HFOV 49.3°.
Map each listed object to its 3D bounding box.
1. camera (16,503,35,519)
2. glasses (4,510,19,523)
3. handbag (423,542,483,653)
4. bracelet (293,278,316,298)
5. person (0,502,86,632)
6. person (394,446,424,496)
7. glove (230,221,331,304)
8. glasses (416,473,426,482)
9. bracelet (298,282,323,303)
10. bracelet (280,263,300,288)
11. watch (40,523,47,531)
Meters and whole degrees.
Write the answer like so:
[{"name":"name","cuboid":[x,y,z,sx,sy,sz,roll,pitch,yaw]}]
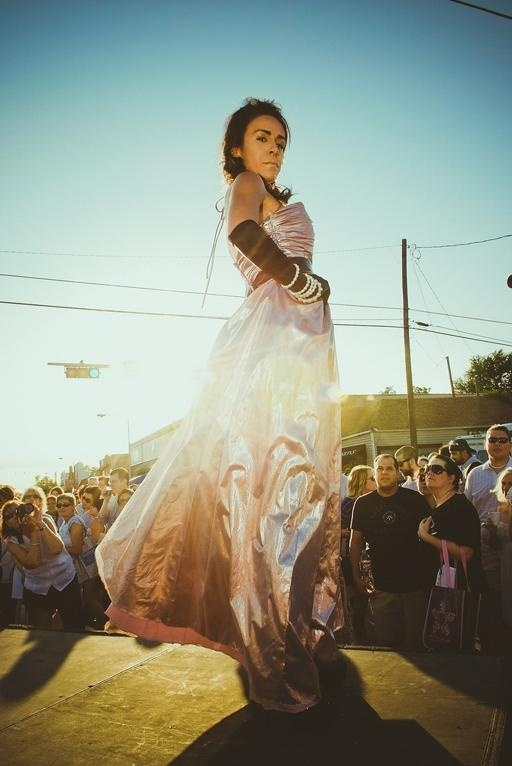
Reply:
[{"name":"camera","cuboid":[-1.821,1.011,4.380,0.114,0.119,0.035,2,11,11]},{"name":"glasses","cuboid":[-2.009,1.080,4.555,0.125,0.085,0.041,-6,-5,28]},{"name":"handbag","cuboid":[1.164,1.288,3.348,0.297,0.469,0.589,-5,-5,23]},{"name":"bracelet","cuboid":[0.144,-0.277,1.673,0.024,0.062,0.057,31,35,34]},{"name":"person","cuboid":[-1.753,1.492,4.607,0.584,1.051,0.473,0,-5,-34]},{"name":"person","cuboid":[1.856,1.063,6.806,0.329,0.766,0.539,3,-42,8]},{"name":"glove","cuboid":[0.098,-0.359,1.684,0.365,0.223,0.100,0,-5,-37]},{"name":"glasses","cuboid":[1.736,0.986,5.880,0.085,0.089,0.084,0,1,-36]},{"name":"bracelet","cuboid":[0.165,-0.274,1.682,0.060,0.066,0.024,-12,0,-23]},{"name":"bracelet","cuboid":[0.108,-0.321,1.653,0.016,0.059,0.061,27,-22,7]},{"name":"watch","cuboid":[-1.738,1.164,4.555,0.034,0.064,0.108,-3,-5,1]}]
